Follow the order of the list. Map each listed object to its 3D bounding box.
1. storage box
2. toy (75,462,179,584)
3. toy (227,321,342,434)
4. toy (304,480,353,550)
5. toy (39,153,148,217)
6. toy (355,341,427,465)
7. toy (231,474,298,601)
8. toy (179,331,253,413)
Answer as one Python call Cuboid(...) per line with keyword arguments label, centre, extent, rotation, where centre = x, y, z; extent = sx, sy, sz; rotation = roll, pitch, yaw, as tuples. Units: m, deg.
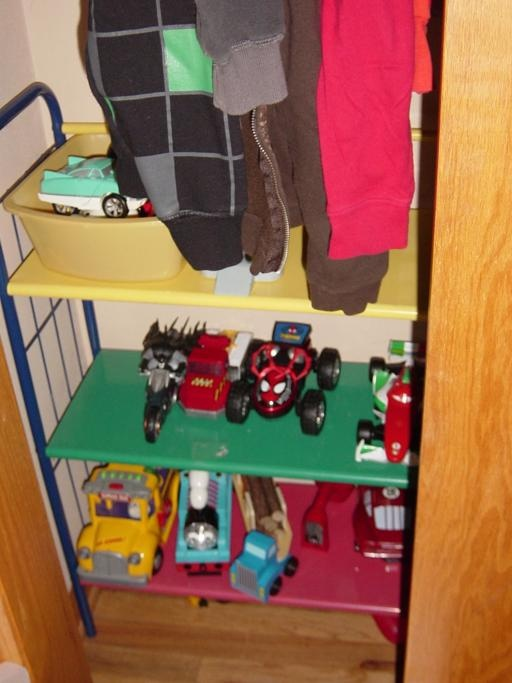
Cuboid(label="storage box", centre=(-0.249, -0.224, 0.941), extent=(0.209, 0.102, 0.291), rotation=(6, 46, 8))
Cuboid(label="toy", centre=(-0.320, 0.403, 1.487), extent=(0.169, 0.208, 0.335), rotation=(3, 24, 4))
Cuboid(label="toy", centre=(0.063, 0.081, 1.295), extent=(0.220, 0.170, 0.246), rotation=(6, 51, 16))
Cuboid(label="toy", centre=(0.191, 0.440, 1.539), extent=(0.103, 0.077, 0.204), rotation=(4, 71, 29))
Cuboid(label="toy", centre=(-0.270, -0.244, 1.013), extent=(0.166, 0.075, 0.123), rotation=(4, 45, 0))
Cuboid(label="toy", centre=(0.300, 0.139, 1.267), extent=(0.137, 0.091, 0.267), rotation=(2, 56, 13))
Cuboid(label="toy", centre=(0.025, 0.483, 1.449), extent=(0.126, 0.155, 0.295), rotation=(1, 47, 4))
Cuboid(label="toy", centre=(-0.095, 0.068, 1.341), extent=(0.102, 0.103, 0.213), rotation=(5, 51, 10))
